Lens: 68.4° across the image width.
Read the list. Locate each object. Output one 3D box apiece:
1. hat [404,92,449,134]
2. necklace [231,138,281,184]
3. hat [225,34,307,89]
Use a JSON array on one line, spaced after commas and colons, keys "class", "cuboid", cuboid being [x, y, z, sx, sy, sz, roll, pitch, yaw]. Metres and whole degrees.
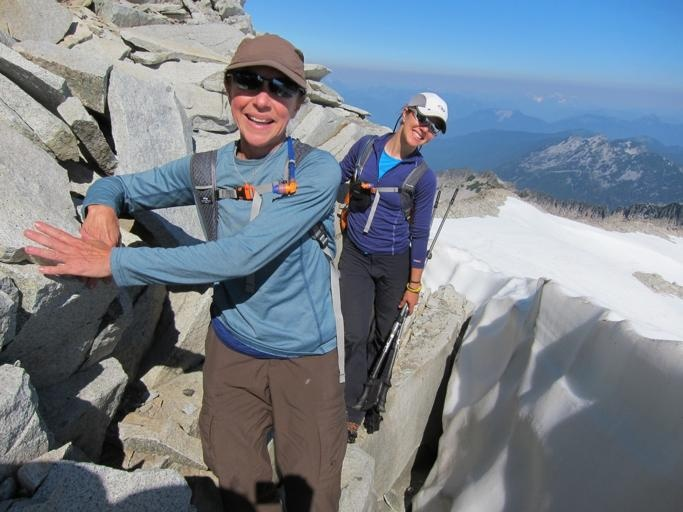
[{"class": "hat", "cuboid": [1.117, -1.677, 5.839, 0.424, 0.290, 0.568, 27, 14, -20]}, {"class": "necklace", "cuboid": [-0.583, -0.728, 3.737, 0.329, 0.351, 0.272, 8, 11, -17]}, {"class": "hat", "cuboid": [-0.556, -1.408, 3.727, 0.544, 0.311, 0.556, 6, -4, 27]}]
